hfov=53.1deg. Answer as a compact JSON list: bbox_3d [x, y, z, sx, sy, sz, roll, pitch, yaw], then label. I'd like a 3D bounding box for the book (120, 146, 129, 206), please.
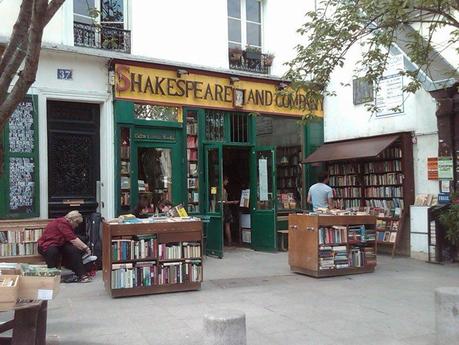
[{"bbox_3d":[-2.436,0.068,10.722,0.218,1.381,0.194,-2,-4,-14],"label":"book"}]

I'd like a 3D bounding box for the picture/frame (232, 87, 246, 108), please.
[{"bbox_3d":[0.242,-1.963,12.043,0.495,0.715,0.162,4,-7,-44],"label":"picture/frame"}]

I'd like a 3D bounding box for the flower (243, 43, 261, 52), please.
[{"bbox_3d":[0.640,-3.458,12.822,0.285,0.126,0.399,-2,12,-29],"label":"flower"}]

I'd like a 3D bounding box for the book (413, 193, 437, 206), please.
[{"bbox_3d":[4.648,0.645,10.837,0.312,0.299,0.084,-3,-28,44],"label":"book"}]

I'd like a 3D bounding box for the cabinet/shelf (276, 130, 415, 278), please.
[{"bbox_3d":[2.264,0.762,11.432,3.148,4.026,2.847,5,-8,-30],"label":"cabinet/shelf"}]

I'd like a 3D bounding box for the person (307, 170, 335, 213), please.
[{"bbox_3d":[2.029,0.402,10.270,0.529,0.875,0.843,-3,-5,10],"label":"person"}]

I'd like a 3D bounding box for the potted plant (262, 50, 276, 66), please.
[{"bbox_3d":[1.144,-3.161,12.766,0.317,0.341,0.321,-3,9,-40],"label":"potted plant"}]

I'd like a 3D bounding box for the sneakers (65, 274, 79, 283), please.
[{"bbox_3d":[-3.051,2.027,8.795,0.244,0.129,0.327,0,-6,-31],"label":"sneakers"}]

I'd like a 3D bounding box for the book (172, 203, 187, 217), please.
[{"bbox_3d":[-1.047,0.785,9.506,0.272,0.247,0.463,-2,-5,-9],"label":"book"}]

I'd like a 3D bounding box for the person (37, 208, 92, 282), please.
[{"bbox_3d":[-3.212,1.427,8.851,0.847,1.322,0.821,2,-4,-44],"label":"person"}]

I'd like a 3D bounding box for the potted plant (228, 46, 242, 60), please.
[{"bbox_3d":[0.153,-3.176,12.425,0.299,0.322,0.515,4,-2,-2],"label":"potted plant"}]

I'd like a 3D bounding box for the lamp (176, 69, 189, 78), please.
[{"bbox_3d":[-1.158,-2.437,11.265,0.282,0.200,0.192,-1,-10,-37],"label":"lamp"}]

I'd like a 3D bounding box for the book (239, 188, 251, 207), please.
[{"bbox_3d":[0.443,0.699,12.866,0.033,0.597,0.525,15,-14,-31],"label":"book"}]

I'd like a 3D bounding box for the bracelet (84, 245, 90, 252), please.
[{"bbox_3d":[-2.793,1.482,8.956,0.125,0.145,0.094,0,-1,22],"label":"bracelet"}]
